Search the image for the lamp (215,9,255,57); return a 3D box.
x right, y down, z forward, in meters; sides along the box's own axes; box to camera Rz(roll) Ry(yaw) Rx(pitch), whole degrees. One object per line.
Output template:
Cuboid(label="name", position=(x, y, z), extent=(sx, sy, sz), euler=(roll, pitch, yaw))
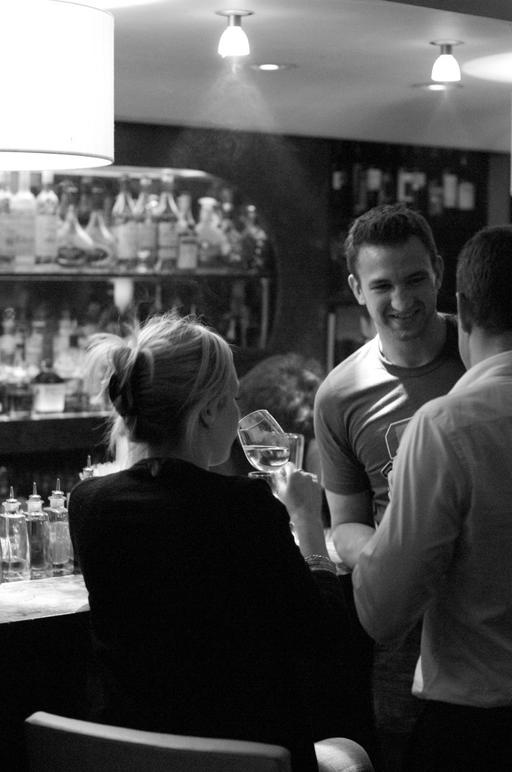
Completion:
Cuboid(label="lamp", position=(-0.064, -0.989, 2.226), extent=(0.102, 0.111, 0.102), euler=(7, 28, 11))
